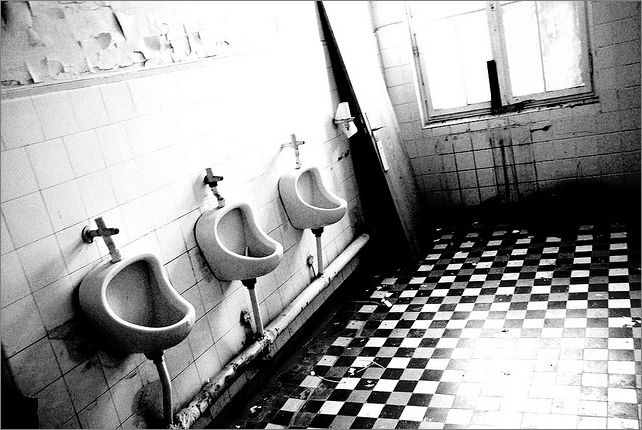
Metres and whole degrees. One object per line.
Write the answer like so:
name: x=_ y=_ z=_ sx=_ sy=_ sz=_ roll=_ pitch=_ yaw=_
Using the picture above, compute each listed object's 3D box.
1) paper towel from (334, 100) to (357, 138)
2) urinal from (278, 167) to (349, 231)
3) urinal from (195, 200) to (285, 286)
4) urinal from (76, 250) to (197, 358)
paper towel: x=0.230 y=-0.961 z=4.666 sx=0.222 sy=0.393 sz=0.354 roll=-10 pitch=20 yaw=6
urinal: x=0.067 y=-0.162 z=4.117 sx=0.569 sy=0.580 sz=0.706 roll=-10 pitch=16 yaw=-27
urinal: x=-0.530 y=0.214 z=3.381 sx=0.608 sy=0.516 sz=0.452 roll=11 pitch=25 yaw=19
urinal: x=-1.023 y=0.554 z=2.775 sx=0.658 sy=0.441 sz=0.493 roll=17 pitch=20 yaw=24
